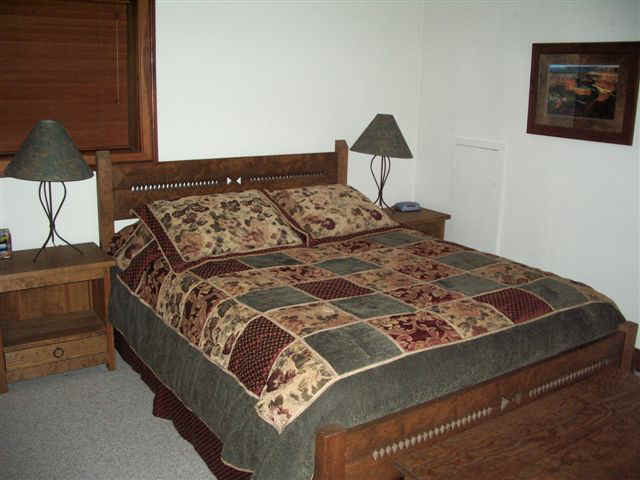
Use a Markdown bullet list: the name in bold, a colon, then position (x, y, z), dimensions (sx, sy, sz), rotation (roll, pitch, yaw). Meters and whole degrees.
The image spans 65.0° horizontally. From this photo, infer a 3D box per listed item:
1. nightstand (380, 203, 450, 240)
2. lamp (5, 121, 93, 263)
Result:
- **nightstand**: position (0.892, -0.130, 4.715), dimensions (0.477, 0.420, 0.335), rotation (-17, 32, -34)
- **lamp**: position (-1.777, -0.337, 3.313), dimensions (0.487, 0.894, 0.559), rotation (-8, 19, -27)
